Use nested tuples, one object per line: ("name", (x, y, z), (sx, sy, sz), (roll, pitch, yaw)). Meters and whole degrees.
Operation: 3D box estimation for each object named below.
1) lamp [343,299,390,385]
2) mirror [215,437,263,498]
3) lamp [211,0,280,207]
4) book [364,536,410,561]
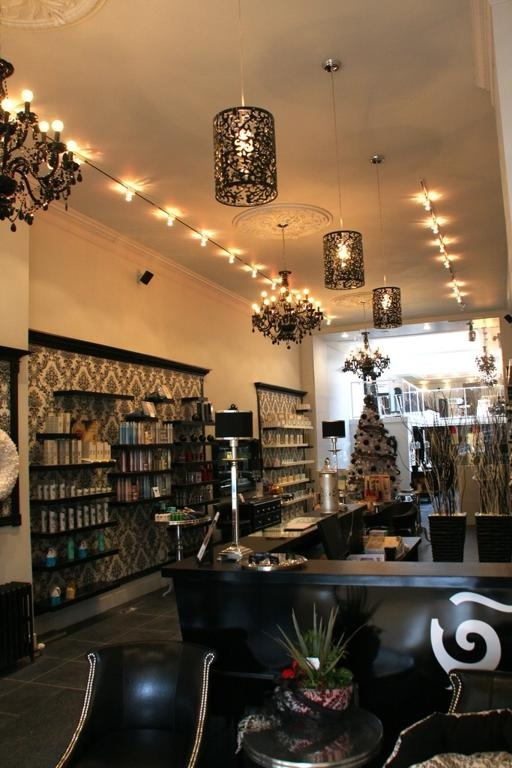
("lamp", (2.152, -0.738, 11.327), (1.305, 1.643, 1.308), (0, -14, 7))
("mirror", (-0.269, 1.273, 8.667), (0.170, 0.983, 1.692), (-1, -4, 17))
("lamp", (-0.068, -1.425, 3.659), (0.393, 0.520, 0.493), (-3, -5, -2))
("book", (1.155, 1.431, 5.084), (0.344, 0.168, 0.459), (-2, -4, 18))
